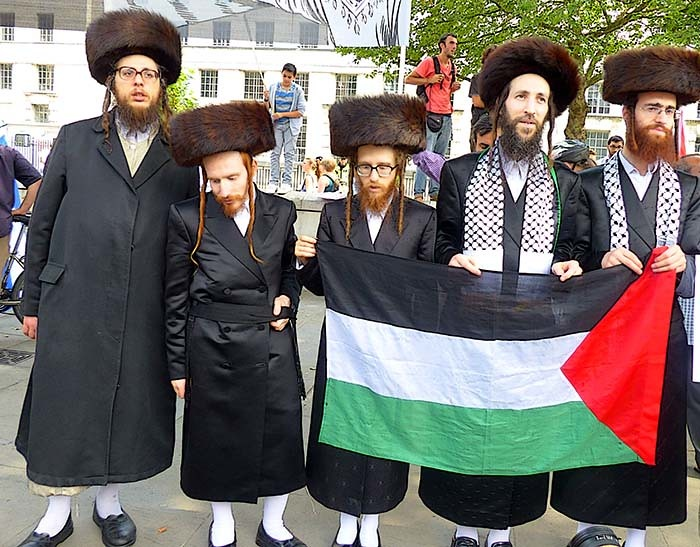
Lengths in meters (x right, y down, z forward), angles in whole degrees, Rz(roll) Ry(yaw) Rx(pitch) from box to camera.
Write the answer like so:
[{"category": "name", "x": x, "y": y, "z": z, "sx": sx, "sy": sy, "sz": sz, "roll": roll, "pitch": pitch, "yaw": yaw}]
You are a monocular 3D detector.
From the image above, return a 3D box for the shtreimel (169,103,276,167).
[{"category": "shtreimel", "x": -0.696, "y": -0.737, "z": 3.475, "sx": 0.362, "sy": 0.225, "sz": 0.454, "roll": 1, "pitch": 7, "yaw": 34}]

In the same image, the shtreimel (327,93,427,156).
[{"category": "shtreimel", "x": 0.143, "y": -0.843, "z": 3.485, "sx": 0.367, "sy": 0.202, "sz": 0.418, "roll": 0, "pitch": 1, "yaw": 13}]

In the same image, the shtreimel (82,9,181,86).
[{"category": "shtreimel", "x": -1.256, "y": -1.315, "z": 3.702, "sx": 0.507, "sy": 0.246, "sz": 0.444, "roll": 11, "pitch": -29, "yaw": -29}]

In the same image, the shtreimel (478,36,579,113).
[{"category": "shtreimel", "x": 1.034, "y": -1.139, "z": 3.659, "sx": 0.569, "sy": 0.417, "sz": 0.287, "roll": 1, "pitch": 6, "yaw": 11}]
